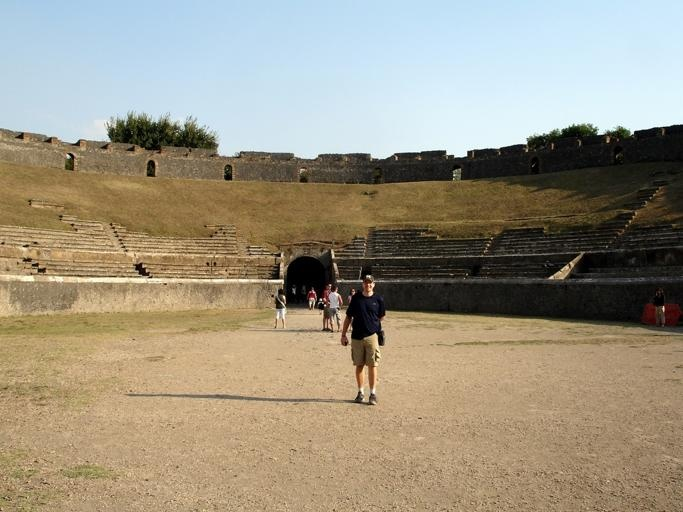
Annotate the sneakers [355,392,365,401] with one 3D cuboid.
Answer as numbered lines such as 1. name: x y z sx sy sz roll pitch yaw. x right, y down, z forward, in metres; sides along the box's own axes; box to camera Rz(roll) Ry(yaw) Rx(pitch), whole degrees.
1. sneakers: 0.340 2.515 13.666 0.167 0.195 0.256 3 2 2

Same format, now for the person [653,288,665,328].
1. person: 9.394 1.549 22.618 0.351 1.058 1.140 4 2 22

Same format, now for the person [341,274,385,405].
1. person: 0.395 1.484 14.161 0.753 2.228 1.598 3 2 0

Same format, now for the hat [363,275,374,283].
1. hat: 0.495 0.417 14.031 0.184 0.133 0.268 2 -10 -6

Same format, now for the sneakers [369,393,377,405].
1. sneakers: 0.549 2.541 13.477 0.135 0.174 0.382 1 -11 -1
